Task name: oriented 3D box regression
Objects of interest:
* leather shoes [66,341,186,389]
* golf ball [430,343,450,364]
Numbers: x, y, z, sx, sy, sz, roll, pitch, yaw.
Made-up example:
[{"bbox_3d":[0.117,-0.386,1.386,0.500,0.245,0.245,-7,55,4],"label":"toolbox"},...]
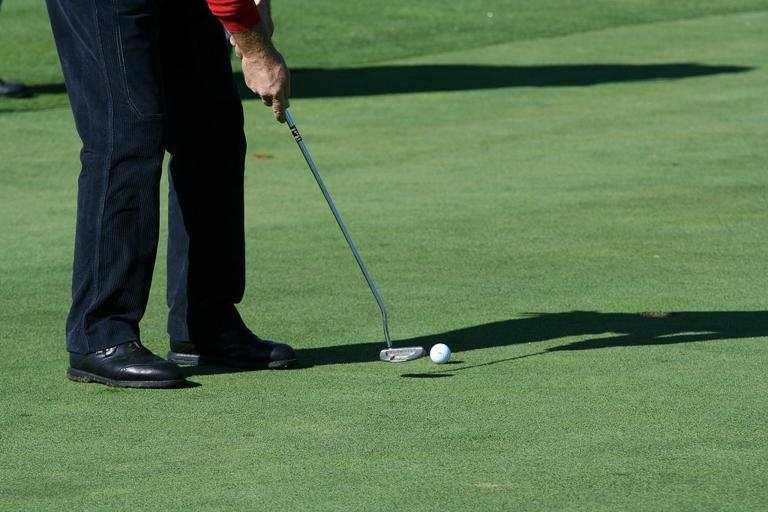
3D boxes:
[{"bbox_3d":[-0.981,0.424,5.664,0.438,0.142,0.174,0,-1,19],"label":"leather shoes"},{"bbox_3d":[0.230,0.373,5.757,0.088,0.069,0.074,-13,-16,3],"label":"golf ball"}]
